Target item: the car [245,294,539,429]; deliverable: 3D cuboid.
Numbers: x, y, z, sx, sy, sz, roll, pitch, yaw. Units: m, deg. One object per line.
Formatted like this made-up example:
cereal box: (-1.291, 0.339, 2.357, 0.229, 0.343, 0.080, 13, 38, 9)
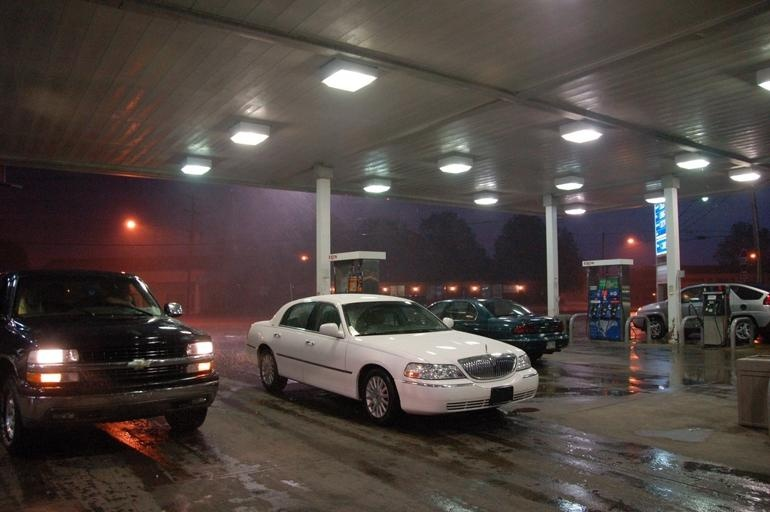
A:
car: (-0.369, 1.686, 9.885, 2.266, 1.436, 5.166, 7, -9, -40)
